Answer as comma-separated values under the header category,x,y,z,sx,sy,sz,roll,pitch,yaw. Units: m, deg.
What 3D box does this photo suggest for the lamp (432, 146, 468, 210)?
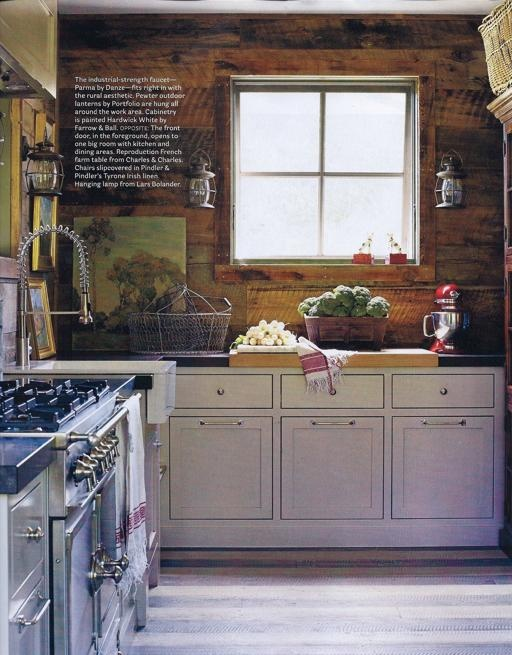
category,x,y,z,sx,sy,sz,roll,pitch,yaw
lamp,0.938,-0.695,3.909,0.137,0.322,0.158,-4,8,-43

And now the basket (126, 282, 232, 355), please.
category,x,y,z,sx,sy,sz,roll,pitch,yaw
basket,-0.367,-0.022,3.921,0.368,0.244,0.382,0,0,2

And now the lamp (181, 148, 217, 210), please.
category,x,y,z,sx,sy,sz,roll,pitch,yaw
lamp,-0.266,-0.715,3.868,0.151,0.301,0.380,0,4,-5

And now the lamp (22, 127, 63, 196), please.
category,x,y,z,sx,sy,sz,roll,pitch,yaw
lamp,-0.899,-0.661,3.346,0.099,0.294,0.206,2,7,2

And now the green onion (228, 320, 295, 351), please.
category,x,y,z,sx,sy,sz,roll,pitch,yaw
green onion,0.030,0.035,3.712,0.279,0.134,0.230,0,6,-17

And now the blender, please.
category,x,y,z,sx,sy,sz,roll,pitch,yaw
blender,0.919,-0.051,3.895,0.232,0.310,0.357,1,4,13
